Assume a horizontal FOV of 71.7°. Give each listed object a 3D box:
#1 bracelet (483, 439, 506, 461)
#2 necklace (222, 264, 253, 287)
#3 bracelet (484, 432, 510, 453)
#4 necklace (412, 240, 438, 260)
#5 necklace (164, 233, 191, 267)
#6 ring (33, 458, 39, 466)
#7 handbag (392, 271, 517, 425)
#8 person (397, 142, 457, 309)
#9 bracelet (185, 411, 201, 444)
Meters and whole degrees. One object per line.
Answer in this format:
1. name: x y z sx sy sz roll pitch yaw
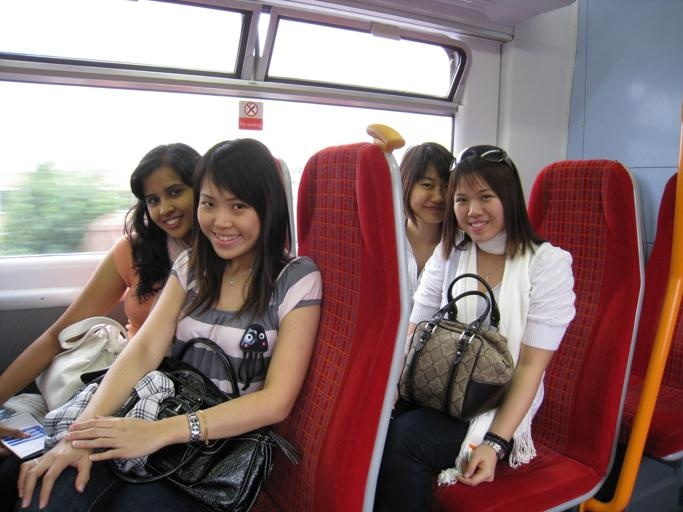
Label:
1. bracelet: 0.513 0.659 1.601 0.072 0.060 0.038 6 11 12
2. necklace: -0.363 0.073 1.684 0.064 0.096 0.083 14 -21 26
3. bracelet: 0.523 0.633 1.608 0.053 0.034 0.050 33 5 11
4. necklace: 0.429 -0.036 2.489 0.085 0.095 0.022 -11 -18 11
5. necklace: -0.716 -0.035 2.062 0.083 0.059 0.117 -20 24 32
6. ring: -0.884 0.596 1.365 0.014 0.007 0.019 3 -3 -19
7. handbag: 0.433 0.335 1.762 0.247 0.525 0.430 11 -4 -35
8. person: 0.469 -0.061 2.547 0.292 1.080 0.300 5 29 17
9. bracelet: -0.426 0.496 1.371 0.043 0.072 0.075 -15 52 -11
